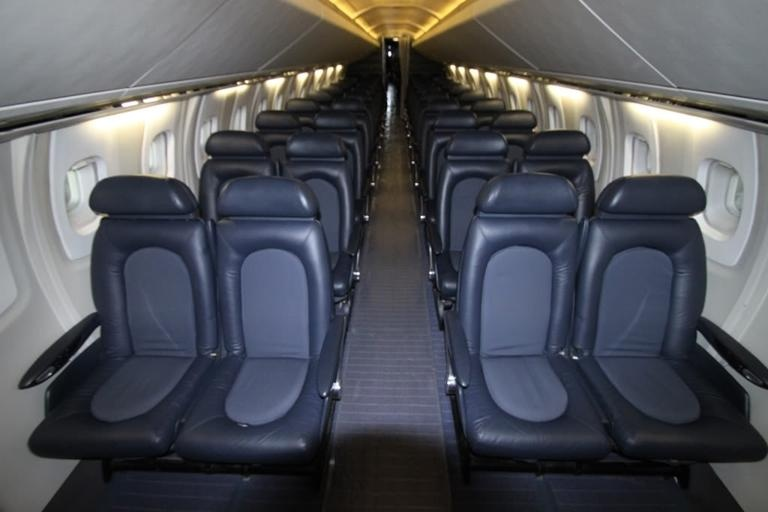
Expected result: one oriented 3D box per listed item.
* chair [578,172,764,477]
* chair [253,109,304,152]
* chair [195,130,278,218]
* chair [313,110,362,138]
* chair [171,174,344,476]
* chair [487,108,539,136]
[{"bbox_3d":[2.113,0.412,4.205,1.146,1.855,1.016,1,16,1],"label":"chair"},{"bbox_3d":[-1.351,-1.623,7.550,0.478,0.697,0.576,-1,3,-2],"label":"chair"},{"bbox_3d":[-1.622,-0.893,6.153,0.779,1.153,0.971,-2,18,-5],"label":"chair"},{"bbox_3d":[-0.614,-1.715,7.299,0.541,0.234,0.169,2,16,2],"label":"chair"},{"bbox_3d":[-0.880,0.471,4.245,1.121,1.956,1.041,1,16,-2],"label":"chair"},{"bbox_3d":[1.725,-1.752,7.640,0.524,0.335,0.505,2,24,1],"label":"chair"}]
